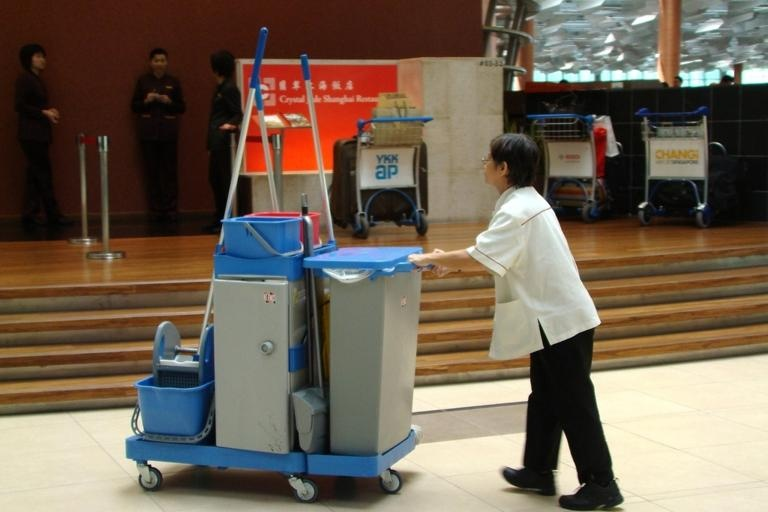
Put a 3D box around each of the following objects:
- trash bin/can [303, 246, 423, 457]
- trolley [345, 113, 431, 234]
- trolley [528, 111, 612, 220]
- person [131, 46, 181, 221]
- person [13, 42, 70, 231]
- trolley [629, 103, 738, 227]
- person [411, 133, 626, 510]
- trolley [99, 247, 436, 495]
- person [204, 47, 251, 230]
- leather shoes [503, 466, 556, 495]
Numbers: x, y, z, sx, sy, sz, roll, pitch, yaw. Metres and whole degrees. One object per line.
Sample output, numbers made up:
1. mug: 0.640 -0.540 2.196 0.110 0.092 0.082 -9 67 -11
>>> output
1. trash bin/can: -0.088 0.560 4.003 0.656 1.134 0.338 -3 6 -6
2. trolley: 0.048 -0.946 8.540 0.958 1.360 1.368 -1 7 5
3. trolley: 2.753 -1.283 9.847 1.259 1.335 0.968 -15 15 -39
4. person: -3.326 -1.766 10.349 0.736 2.466 0.602 -4 7 -19
5. person: -4.831 -1.690 9.665 0.554 2.579 0.940 -5 7 -26
6. trolley: 4.078 -1.186 9.353 1.137 1.558 1.355 1 7 26
7. person: 0.863 0.365 3.942 0.925 2.099 0.363 0 7 19
8. trolley: -0.643 0.674 4.395 1.629 1.302 0.984 0 2 10
9. person: -2.022 -1.451 8.837 0.681 2.262 0.395 3 9 41
10. leather shoes: 0.851 1.305 4.135 0.354 0.147 0.128 12 5 6
